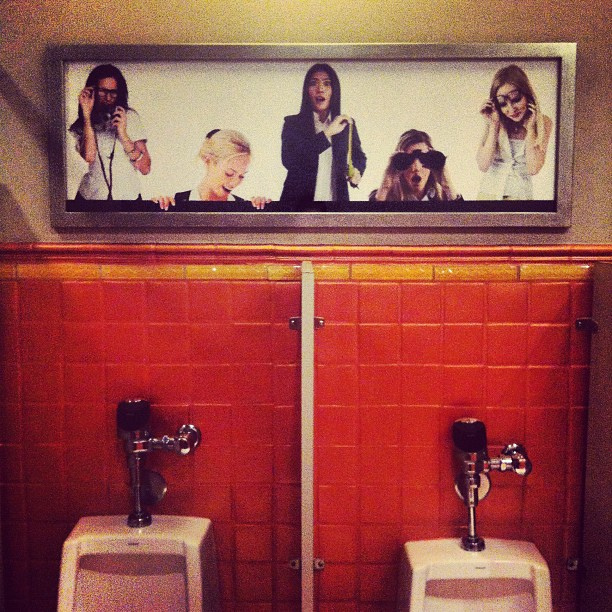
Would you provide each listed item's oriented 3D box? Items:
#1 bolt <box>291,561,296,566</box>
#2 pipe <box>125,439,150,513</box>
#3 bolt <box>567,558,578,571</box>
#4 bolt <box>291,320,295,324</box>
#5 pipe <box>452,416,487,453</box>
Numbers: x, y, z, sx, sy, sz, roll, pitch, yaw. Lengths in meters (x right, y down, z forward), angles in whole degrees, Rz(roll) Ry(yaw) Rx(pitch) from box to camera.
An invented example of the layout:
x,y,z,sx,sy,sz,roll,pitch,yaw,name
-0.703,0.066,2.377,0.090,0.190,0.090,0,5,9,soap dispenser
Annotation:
x,y,z,sx,sy,sz,roll,pitch,yaw,name
-0.041,0.792,2.500,0.015,0.013,0.004,-3,1,2,bolt
-0.497,0.508,2.402,0.079,0.247,0.050,-4,-19,6,pipe
0.819,0.793,2.494,0.030,0.032,0.008,5,-3,33,bolt
-0.042,0.047,2.453,0.008,0.008,0.005,0,3,0,bolt
0.485,0.384,2.392,0.098,0.082,0.079,-3,0,-9,pipe
